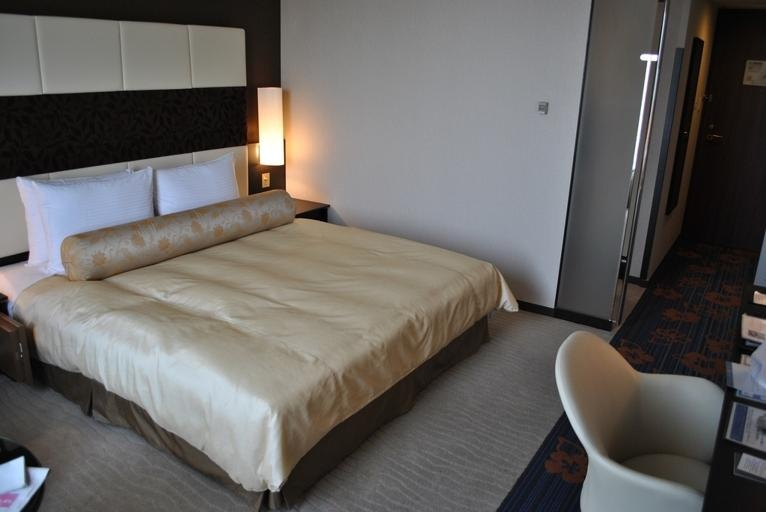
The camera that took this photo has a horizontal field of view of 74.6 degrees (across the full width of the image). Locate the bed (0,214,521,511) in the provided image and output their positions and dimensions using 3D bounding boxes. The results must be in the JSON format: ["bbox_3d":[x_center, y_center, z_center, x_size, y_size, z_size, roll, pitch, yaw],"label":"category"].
[{"bbox_3d":[-1.037,0.443,3.319,2.014,0.527,2.065,18,29,35],"label":"bed"}]

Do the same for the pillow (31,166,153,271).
[{"bbox_3d":[-2.206,-0.255,3.741,0.222,0.550,0.686,5,13,43],"label":"pillow"}]

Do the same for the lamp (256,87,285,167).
[{"bbox_3d":[-1.175,-1.321,5.209,0.269,0.795,0.262,-4,22,-12],"label":"lamp"}]
